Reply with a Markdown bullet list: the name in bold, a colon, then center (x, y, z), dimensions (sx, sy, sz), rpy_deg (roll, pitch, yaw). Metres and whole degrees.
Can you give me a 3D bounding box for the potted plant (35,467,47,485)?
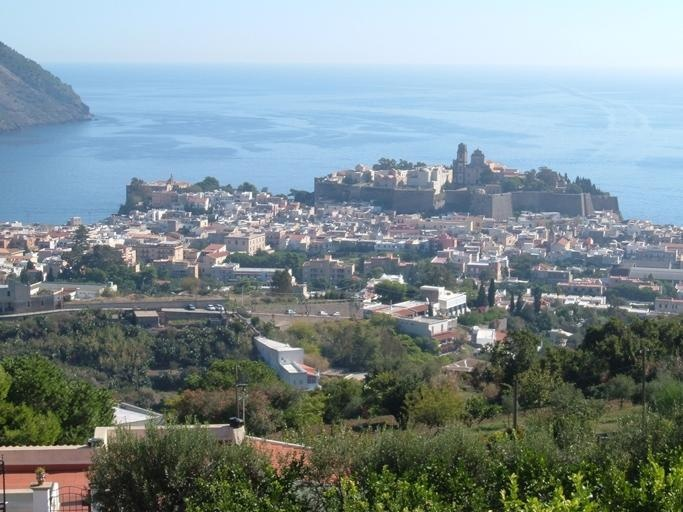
- **potted plant**: center (-11.065, 8.024, 54.345), dimensions (0.344, 0.592, 0.437), rpy_deg (-1, 4, -12)
